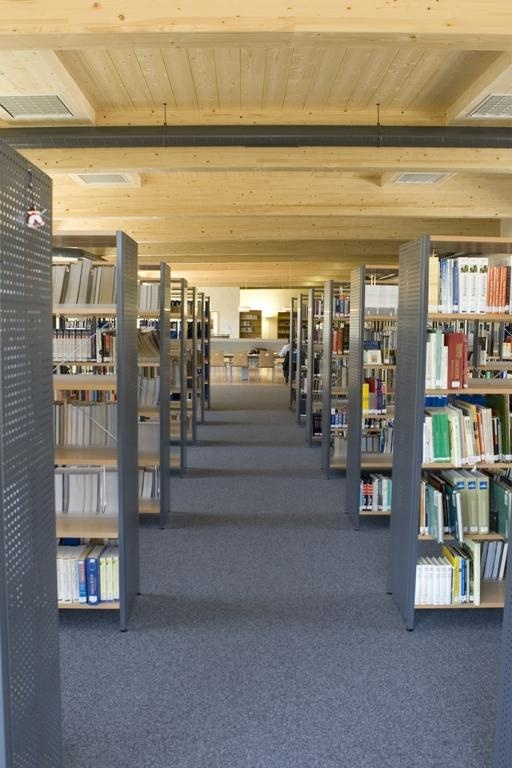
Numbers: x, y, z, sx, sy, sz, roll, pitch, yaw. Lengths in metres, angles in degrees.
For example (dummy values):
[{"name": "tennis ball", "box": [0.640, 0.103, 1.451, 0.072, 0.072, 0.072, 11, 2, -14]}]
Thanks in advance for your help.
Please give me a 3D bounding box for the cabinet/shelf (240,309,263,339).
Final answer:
[{"name": "cabinet/shelf", "box": [-0.180, -2.338, 22.240, 1.089, 1.749, 0.430, -1, 2, -3]}]
